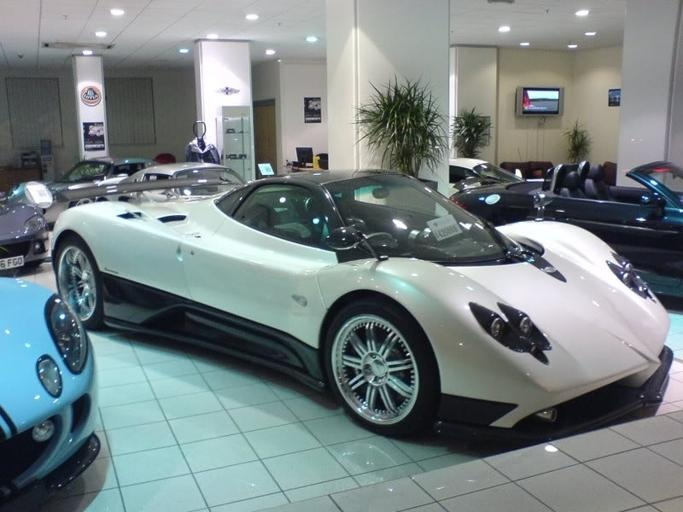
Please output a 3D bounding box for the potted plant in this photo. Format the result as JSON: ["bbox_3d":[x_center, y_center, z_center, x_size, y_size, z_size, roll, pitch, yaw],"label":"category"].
[{"bbox_3d":[0.909,-1.775,6.678,1.280,1.437,1.140,-24,31,-34],"label":"potted plant"}]

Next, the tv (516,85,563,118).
[{"bbox_3d":[6.596,-5.146,14.571,1.875,0.878,0.348,-7,12,-25],"label":"tv"}]

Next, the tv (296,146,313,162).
[{"bbox_3d":[-1.104,-3.026,13.128,0.517,0.532,0.496,3,12,9],"label":"tv"}]
